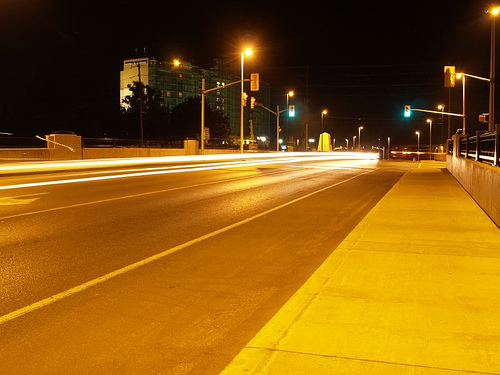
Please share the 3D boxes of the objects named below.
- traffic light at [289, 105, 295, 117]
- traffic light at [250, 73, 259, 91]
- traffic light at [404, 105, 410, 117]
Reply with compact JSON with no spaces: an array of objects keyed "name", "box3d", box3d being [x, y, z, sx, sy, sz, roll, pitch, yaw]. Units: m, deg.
[{"name":"traffic light","box3d":[4.843,-9.049,50.272,0.668,1.250,1.482,0,7,-2]},{"name":"traffic light","box3d":[0.324,-8.356,33.568,0.566,1.277,1.479,0,7,-6]},{"name":"traffic light","box3d":[16.177,-7.829,43.678,0.420,1.018,0.990,3,8,24]}]
